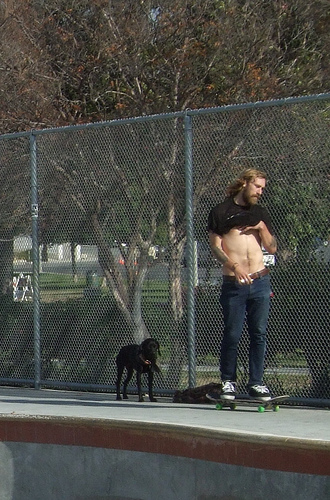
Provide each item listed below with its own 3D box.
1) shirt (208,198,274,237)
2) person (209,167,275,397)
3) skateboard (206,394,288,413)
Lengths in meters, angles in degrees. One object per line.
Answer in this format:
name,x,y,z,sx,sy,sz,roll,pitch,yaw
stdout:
shirt,0.599,-0.235,4.969,0.417,0.277,0.223,-1,-19,37
person,0.529,0.222,4.922,0.489,1.529,0.666,4,21,3
skateboard,0.565,1.104,4.999,0.729,0.131,0.217,-3,-8,33
